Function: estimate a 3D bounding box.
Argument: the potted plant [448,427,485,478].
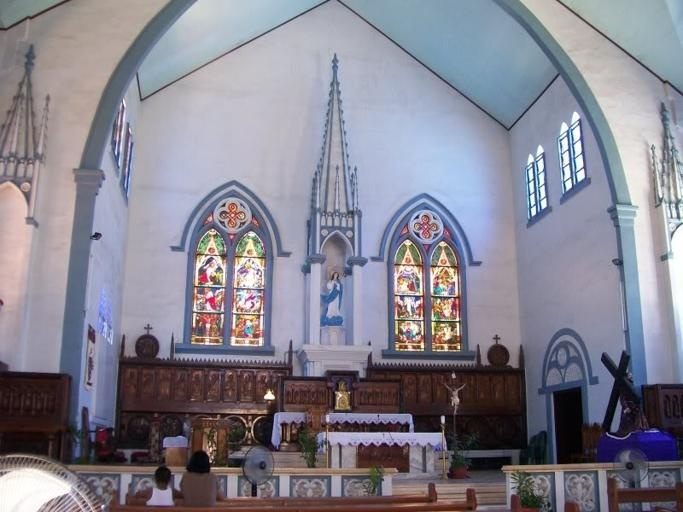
[{"bbox_3d":[3.300,5.279,17.247,1.028,1.704,0.968,1,-26,6],"label":"potted plant"}]

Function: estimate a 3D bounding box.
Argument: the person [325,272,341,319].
[{"bbox_3d":[-0.177,1.091,19.131,0.447,1.556,0.411,3,23,2],"label":"person"}]
